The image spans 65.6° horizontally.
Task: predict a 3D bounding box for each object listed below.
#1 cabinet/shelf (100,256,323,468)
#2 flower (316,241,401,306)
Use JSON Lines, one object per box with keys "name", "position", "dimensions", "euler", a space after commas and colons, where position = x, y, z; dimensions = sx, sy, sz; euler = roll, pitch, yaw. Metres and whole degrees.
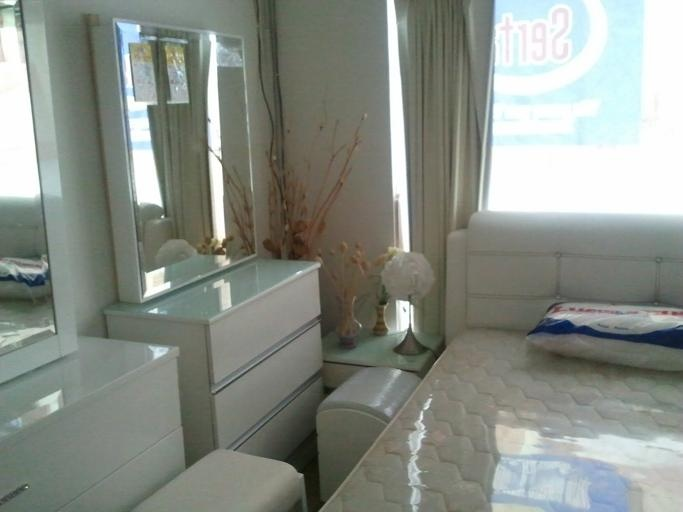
{"name": "cabinet/shelf", "position": [-0.571, 0.450, 2.261], "dimensions": [0.377, 0.814, 0.935], "euler": [1, 9, 18]}
{"name": "flower", "position": [0.121, 0.086, 3.243], "dimensions": [0.410, 0.322, 0.405], "euler": [19, -20, -31]}
